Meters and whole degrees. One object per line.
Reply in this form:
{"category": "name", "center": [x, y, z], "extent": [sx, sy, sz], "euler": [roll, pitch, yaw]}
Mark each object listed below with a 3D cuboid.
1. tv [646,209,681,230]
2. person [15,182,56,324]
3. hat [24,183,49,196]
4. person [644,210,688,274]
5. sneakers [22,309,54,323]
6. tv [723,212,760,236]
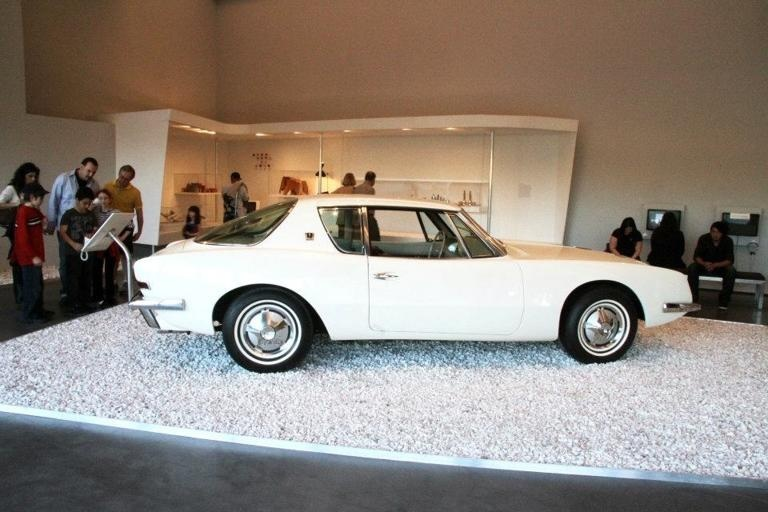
{"category": "tv", "center": [5.266, -0.689, 8.576], "extent": [0.435, 0.305, 0.048], "euler": [2, 2, 32]}
{"category": "person", "center": [-4.197, -0.034, 5.465], "extent": [0.429, 1.665, 0.689], "euler": [-11, 19, -39]}
{"category": "hat", "center": [-4.013, -0.758, 5.272], "extent": [0.187, 0.087, 0.140], "euler": [0, 8, -25]}
{"category": "person", "center": [5.084, -0.264, 8.156], "extent": [0.751, 0.965, 0.673], "euler": [6, 0, 10]}
{"category": "sneakers", "center": [-4.188, 0.737, 5.542], "extent": [0.339, 0.148, 0.137], "euler": [-3, 14, -29]}
{"category": "tv", "center": [6.668, -0.574, 8.505], "extent": [0.453, 0.330, 0.062], "euler": [2, 5, 18]}
